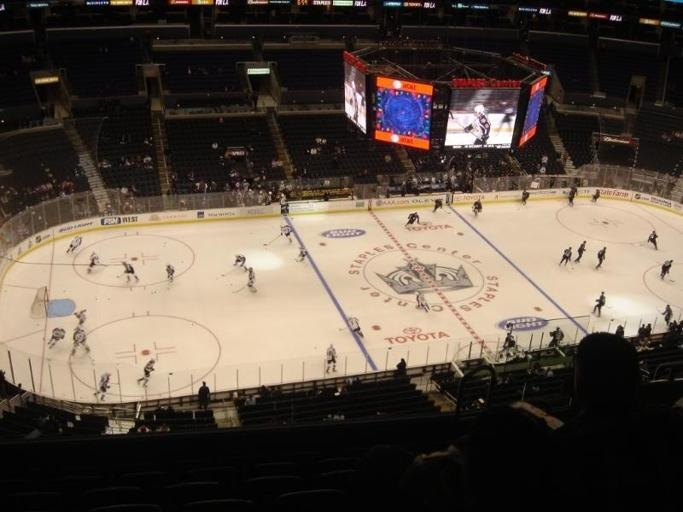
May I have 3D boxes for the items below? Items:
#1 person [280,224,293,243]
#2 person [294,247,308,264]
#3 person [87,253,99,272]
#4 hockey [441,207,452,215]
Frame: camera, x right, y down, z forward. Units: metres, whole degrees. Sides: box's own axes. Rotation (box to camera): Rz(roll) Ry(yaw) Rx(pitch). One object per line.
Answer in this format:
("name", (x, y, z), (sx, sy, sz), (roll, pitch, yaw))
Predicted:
("person", (-3.213, -1.319, 40.618), (0.746, 0.698, 1.304), (19, -6, 5))
("person", (-2.240, -0.037, 38.390), (0.745, 1.030, 0.457), (10, 19, 10))
("person", (-12.807, 0.251, 36.149), (0.567, 1.236, 1.709), (-4, -9, -18))
("hockey", (6.862, -3.002, 45.757), (0.566, 0.147, 0.578), (-9, 36, -9))
